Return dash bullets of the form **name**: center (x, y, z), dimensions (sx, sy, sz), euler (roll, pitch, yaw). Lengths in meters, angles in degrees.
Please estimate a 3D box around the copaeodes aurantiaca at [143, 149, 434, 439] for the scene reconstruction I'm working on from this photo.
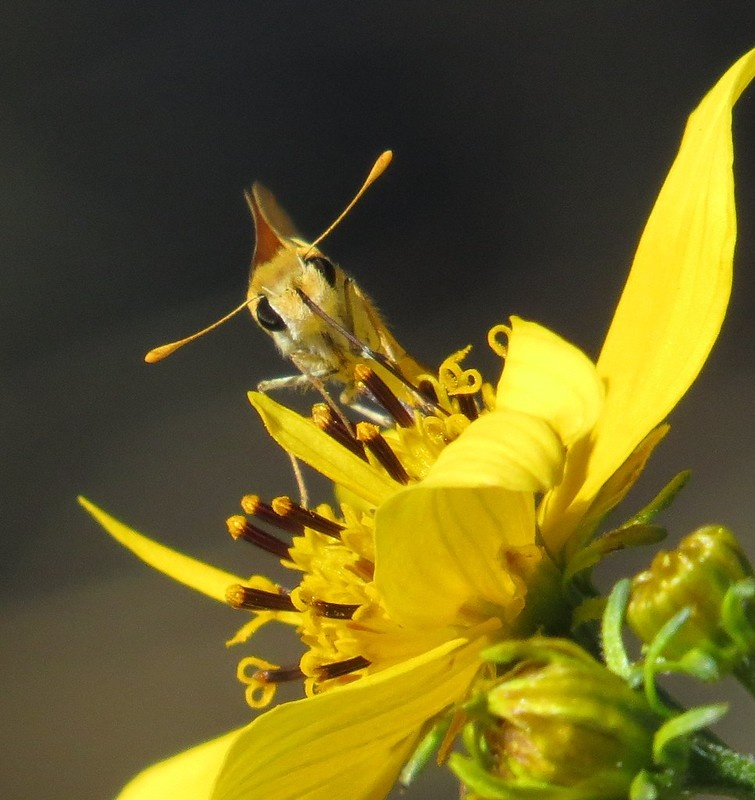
- **copaeodes aurantiaca**: center (-0.042, -0.119, 1.520), dimensions (0.332, 0.309, 0.175), euler (-39, -13, 26)
